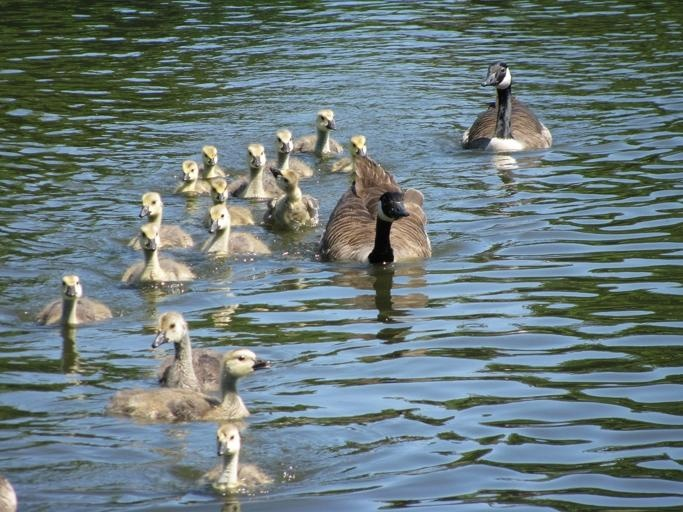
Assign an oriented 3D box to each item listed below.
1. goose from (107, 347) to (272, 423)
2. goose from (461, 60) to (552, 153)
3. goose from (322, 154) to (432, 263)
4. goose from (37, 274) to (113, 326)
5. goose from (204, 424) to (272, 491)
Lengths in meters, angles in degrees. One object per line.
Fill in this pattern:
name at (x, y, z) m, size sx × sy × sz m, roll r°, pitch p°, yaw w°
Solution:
goose at (-1.870, 1.600, 12.813) m, size 1.992 × 0.793 × 0.720 m, roll -3°, pitch 19°, yaw -3°
goose at (3.522, -3.238, 22.907) m, size 1.485 × 1.957 × 1.618 m, roll -13°, pitch 21°, yaw -19°
goose at (0.533, -0.785, 17.839) m, size 1.860 × 1.587 × 2.104 m, roll -3°, pitch 17°, yaw 3°
goose at (-3.996, 0.592, 15.284) m, size 1.086 × 0.818 × 0.955 m, roll -2°, pitch 18°, yaw 6°
goose at (-1.165, 2.193, 11.447) m, size 0.493 × 0.724 × 0.658 m, roll 14°, pitch 27°, yaw 41°
